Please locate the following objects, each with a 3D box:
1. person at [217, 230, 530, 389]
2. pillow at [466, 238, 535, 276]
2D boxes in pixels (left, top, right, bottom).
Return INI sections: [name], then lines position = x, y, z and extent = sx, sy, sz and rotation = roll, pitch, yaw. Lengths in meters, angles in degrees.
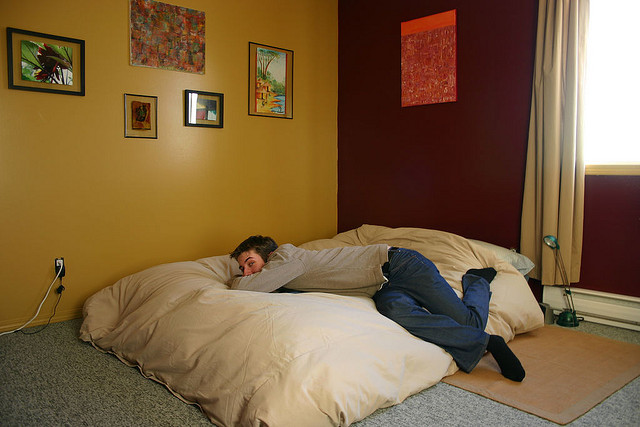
[person]
position = 0.407, 0.564, 3.333
extent = 1.757, 0.692, 1.159
rotation = 12, -9, -2
[pillow]
position = 1.744, 0.397, 4.071
extent = 0.370, 0.118, 0.391
rotation = 24, -6, -15
